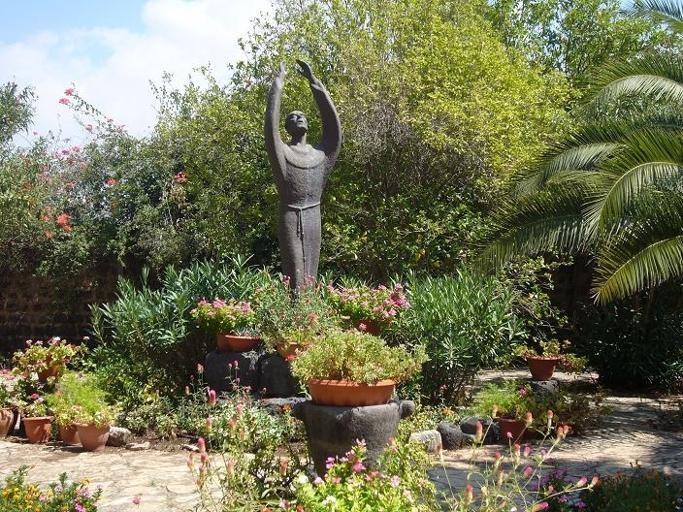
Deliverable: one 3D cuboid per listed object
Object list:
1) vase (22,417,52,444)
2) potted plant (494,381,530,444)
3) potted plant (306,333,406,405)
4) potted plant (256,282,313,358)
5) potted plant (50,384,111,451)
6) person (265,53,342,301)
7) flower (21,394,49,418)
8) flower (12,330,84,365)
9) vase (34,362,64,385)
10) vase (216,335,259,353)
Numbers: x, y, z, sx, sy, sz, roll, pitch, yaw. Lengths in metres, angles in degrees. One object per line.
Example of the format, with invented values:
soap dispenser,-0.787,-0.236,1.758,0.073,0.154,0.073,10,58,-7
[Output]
vase,-3.500,1.991,7.863,0.261,0.239,0.288,0,-8,-3
potted plant,1.973,1.789,7.843,0.371,0.686,1.312,-1,-10,15
potted plant,0.108,0.936,5.588,0.587,0.406,0.647,0,-10,0
potted plant,-0.595,0.731,8.237,0.650,1.038,0.810,1,-3,26
potted plant,-2.834,1.780,7.491,0.492,0.403,0.733,3,-8,1
person,-0.521,-1.070,8.997,1.104,3.100,0.539,4,-8,-21
flower,-3.618,1.799,8.091,0.311,0.360,0.321,4,-3,-27
flower,-4.591,1.431,10.833,0.725,0.442,0.696,1,0,-10
vase,-3.779,1.522,8.830,0.299,0.265,0.322,-3,-6,26
vase,-1.245,1.040,8.178,0.555,0.208,0.185,-3,-10,24
